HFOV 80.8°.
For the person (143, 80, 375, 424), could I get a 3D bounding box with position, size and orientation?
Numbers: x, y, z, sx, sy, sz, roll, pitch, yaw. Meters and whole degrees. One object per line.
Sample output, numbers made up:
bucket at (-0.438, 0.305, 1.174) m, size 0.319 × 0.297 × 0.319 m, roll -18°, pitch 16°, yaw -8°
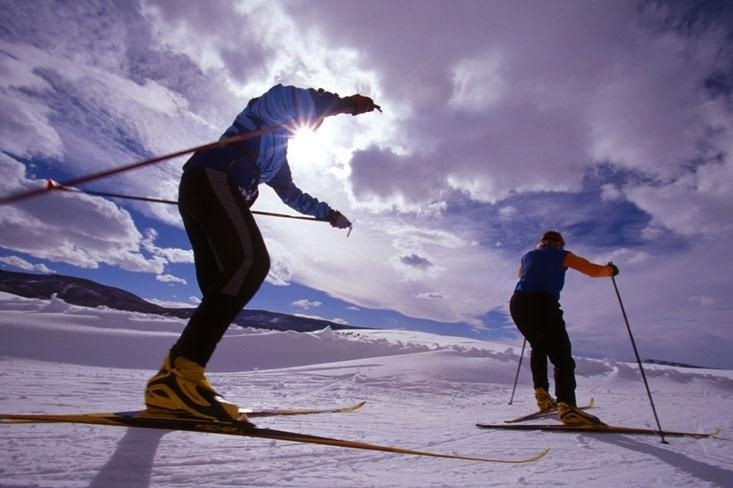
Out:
person at (-1.261, -0.070, 4.009) m, size 1.255 × 3.250 × 0.687 m, roll 15°, pitch -18°, yaw -9°
